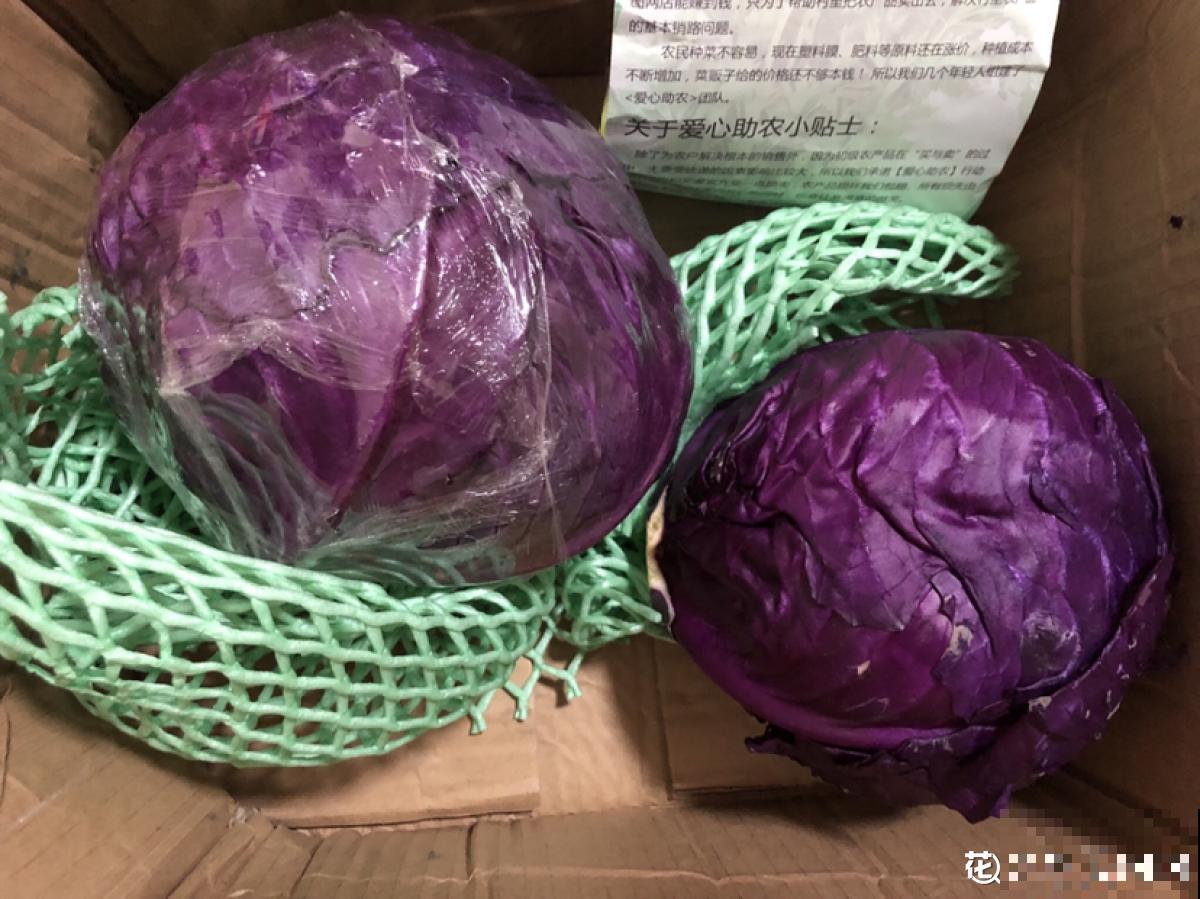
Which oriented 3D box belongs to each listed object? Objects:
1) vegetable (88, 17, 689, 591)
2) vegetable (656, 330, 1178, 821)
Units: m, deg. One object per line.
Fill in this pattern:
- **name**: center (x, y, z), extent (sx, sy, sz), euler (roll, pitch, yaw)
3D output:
- **vegetable**: center (-0.193, -0.147, 0.867), extent (0.440, 0.315, 0.513), euler (-14, 49, 24)
- **vegetable**: center (0.218, 0.099, 0.881), extent (0.382, 0.352, 0.345), euler (-7, 34, -15)
